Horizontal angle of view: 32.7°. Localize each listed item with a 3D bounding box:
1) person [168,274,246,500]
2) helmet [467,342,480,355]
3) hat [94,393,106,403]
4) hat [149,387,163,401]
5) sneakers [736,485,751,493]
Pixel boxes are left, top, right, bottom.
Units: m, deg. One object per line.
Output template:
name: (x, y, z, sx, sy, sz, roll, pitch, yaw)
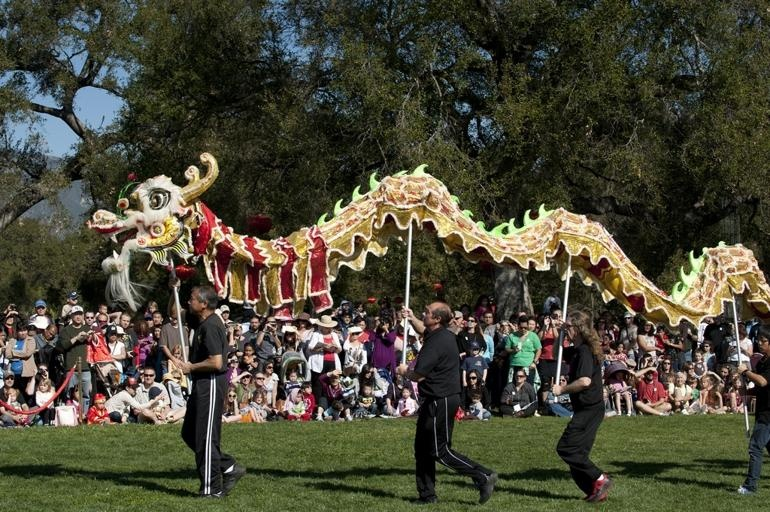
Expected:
person: (-3.661, 2.828, 27.263, 1.091, 4.261, 1.229, -3, 13, -20)
helmet: (2.429, 2.476, 35.083, 0.290, 0.213, 0.386, 0, -10, 2)
hat: (-7.077, 3.572, 32.660, 0.210, 0.231, 0.255, 1, -20, -24)
hat: (-5.737, 3.441, 32.863, 0.280, 0.232, 0.298, 7, -42, -14)
sneakers: (7.669, 5.020, 28.007, 0.320, 0.137, 0.117, -3, 3, 27)
